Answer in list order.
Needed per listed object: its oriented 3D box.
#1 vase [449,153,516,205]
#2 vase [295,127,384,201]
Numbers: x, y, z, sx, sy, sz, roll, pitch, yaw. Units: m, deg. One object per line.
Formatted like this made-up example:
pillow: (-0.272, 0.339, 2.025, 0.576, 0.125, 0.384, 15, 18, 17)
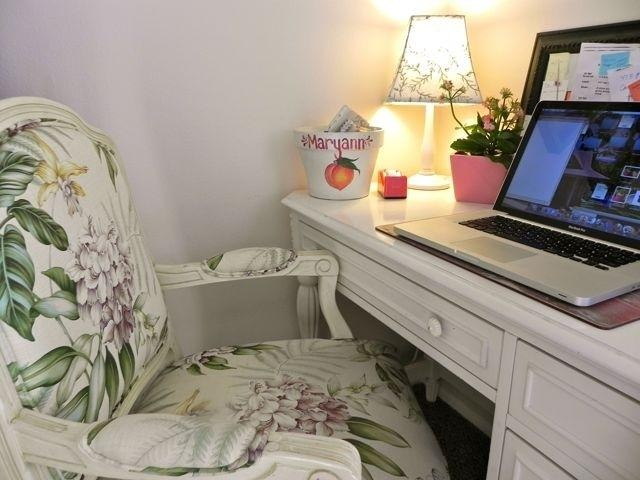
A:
vase: (0.416, -0.163, 1.232, 0.108, 0.130, 0.185, 3, 2, 15)
vase: (0.048, -0.213, 1.290, 0.217, 0.147, 0.205, -5, 17, -14)
